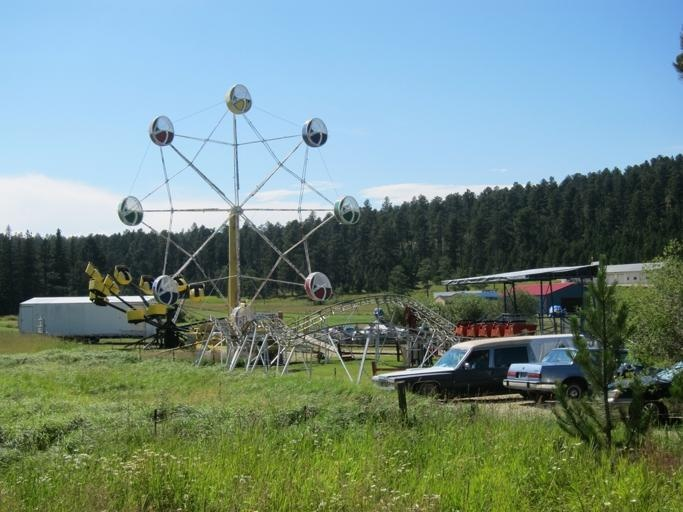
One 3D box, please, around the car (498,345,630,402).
[{"bbox_3d":[6.476,3.404,22.927,2.988,1.245,1.473,-6,2,-25],"label":"car"}]
